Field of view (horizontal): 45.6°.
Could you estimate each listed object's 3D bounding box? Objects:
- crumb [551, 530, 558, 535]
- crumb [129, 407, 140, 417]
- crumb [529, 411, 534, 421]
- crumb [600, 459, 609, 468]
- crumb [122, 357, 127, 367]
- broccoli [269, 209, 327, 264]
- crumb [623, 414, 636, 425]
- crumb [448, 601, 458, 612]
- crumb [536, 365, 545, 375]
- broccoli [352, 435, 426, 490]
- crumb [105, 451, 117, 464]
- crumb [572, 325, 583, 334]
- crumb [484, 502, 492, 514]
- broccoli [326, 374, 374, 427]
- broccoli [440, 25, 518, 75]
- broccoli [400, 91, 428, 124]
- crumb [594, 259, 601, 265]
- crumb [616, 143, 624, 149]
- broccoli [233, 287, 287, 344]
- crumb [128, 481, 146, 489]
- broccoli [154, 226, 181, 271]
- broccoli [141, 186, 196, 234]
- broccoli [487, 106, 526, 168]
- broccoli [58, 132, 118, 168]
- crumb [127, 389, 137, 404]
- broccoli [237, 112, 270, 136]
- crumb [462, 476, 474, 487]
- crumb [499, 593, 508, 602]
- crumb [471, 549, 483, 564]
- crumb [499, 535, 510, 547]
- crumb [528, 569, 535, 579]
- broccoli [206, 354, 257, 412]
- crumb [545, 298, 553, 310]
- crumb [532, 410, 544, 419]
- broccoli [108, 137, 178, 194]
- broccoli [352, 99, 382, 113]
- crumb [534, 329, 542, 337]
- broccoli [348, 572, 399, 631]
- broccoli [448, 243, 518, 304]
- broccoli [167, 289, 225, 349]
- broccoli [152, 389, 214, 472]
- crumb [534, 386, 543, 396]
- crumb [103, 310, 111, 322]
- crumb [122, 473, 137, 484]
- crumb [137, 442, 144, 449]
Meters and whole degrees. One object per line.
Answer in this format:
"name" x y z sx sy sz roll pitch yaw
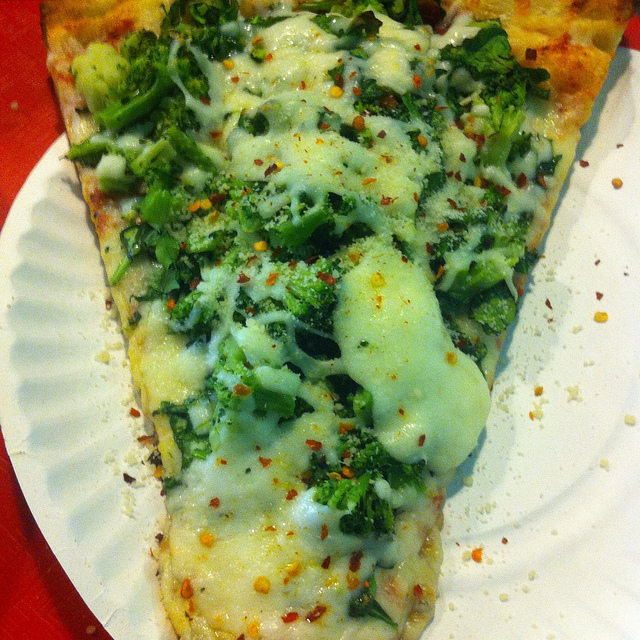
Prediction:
"crumb" 1.392 1.275 4.551 0.023 0.007 0.023 4 66 5
"crumb" -1.086 0.546 4.451 0.061 0.017 0.046 17 76 6
"crumb" 1.275 0.581 4.635 0.027 0.009 0.042 -38 102 -37
"crumb" 1.728 0.882 4.657 0.046 0.013 0.048 8 59 0
"crumb" -1.167 0.258 4.526 0.022 0.009 0.041 1 71 -2
"broccoli" -0.138 -0.457 3.942 0.258 0.265 0.086 -28 54 0
"crumb" 1.901 0.621 4.698 0.063 0.016 0.062 3 74 1
"crumb" 0.759 1.648 4.366 0.032 0.011 0.048 -1 47 -6
"crumb" 1.347 0.308 4.696 0.051 0.013 0.033 -33 87 -3
"broccoli" 0.346 0.760 3.924 0.321 0.314 0.147 38 75 -29
"crumb" -1.208 0.797 4.348 0.067 0.027 0.055 32 78 9
"crumb" 1.596 0.065 4.750 0.055 0.023 0.037 -27 56 -11
"crumb" 0.987 1.122 4.515 0.033 0.013 0.048 0 80 -8
"broccoli" 0.149 0.406 3.921 0.074 0.216 0.277 -36 70 -18
"broccoli" 0.939 -1.568 4.441 0.337 0.083 0.311 18 77 6
"broccoli" 0.516 -1.163 4.213 0.104 0.103 0.184 -16 75 -3
"crumb" 1.750 -0.365 4.836 0.018 0.008 0.031 31 96 -24
"crumb" 1.941 -1.130 4.966 0.033 0.011 0.033 -2 87 4
"broccoli" -0.304 -0.035 3.941 0.292 0.128 0.255 21 96 19
"crumb" -1.047 0.945 4.342 0.059 0.020 0.040 26 59 -1
"broccoli" -0.846 -0.375 4.206 0.116 0.242 0.033 -12 48 -23
"broccoli" -0.832 -0.620 4.174 0.294 0.108 0.183 -19 75 -4
"broccoli" 1.024 -1.028 4.268 0.164 0.094 0.334 12 89 8
"broccoli" -1.344 -0.981 4.422 0.300 0.182 0.063 -10 43 7
"crumb" -1.112 0.457 4.483 0.050 0.014 0.082 1 75 1
"broccoli" -0.365 -1.073 4.253 0.142 0.035 0.139 31 94 4
"crumb" 0.871 0.966 4.526 0.057 0.014 0.056 -2 68 -3
"crumb" 1.049 1.606 4.389 0.049 0.012 0.048 2 75 2
"crumb" 0.911 1.384 4.449 0.064 0.026 0.068 -1 81 5
"crumb" 1.083 1.311 4.493 0.038 0.014 0.052 0 61 -3
"crumb" 1.225 1.492 4.447 0.037 0.016 0.049 2 75 2
"broccoli" -0.412 0.340 3.832 0.258 0.094 0.264 35 95 31
"crumb" 1.417 -0.100 4.761 0.036 0.016 0.064 -29 80 -14
"crumb" 1.311 0.579 4.631 0.042 0.012 0.046 -4 80 4
"broccoli" -0.933 -0.871 4.212 0.333 0.136 0.352 0 66 0
"broccoli" 0.250 -1.155 4.164 0.128 0.081 0.062 5 101 29
"crumb" 1.340 0.083 4.730 0.046 0.013 0.048 2 88 -4
"broccoli" 0.252 1.515 3.932 0.201 0.194 0.311 -29 76 -6
"broccoli" 0.883 -0.260 4.214 0.358 0.111 0.094 -39 57 -2
"broccoli" -0.658 -0.013 4.145 0.238 0.336 0.133 -1 48 5
"broccoli" -0.728 0.580 4.107 0.105 0.377 0.393 -5 75 -43
"crumb" 1.329 0.436 4.657 0.046 0.013 0.048 1 56 0
"crumb" -1.288 -0.020 4.583 0.054 0.016 0.057 4 69 -5
"crumb" -1.097 0.909 4.336 0.072 0.022 0.045 22 76 7
"crumb" -1.041 0.732 4.409 0.039 0.010 0.038 -25 93 -16
